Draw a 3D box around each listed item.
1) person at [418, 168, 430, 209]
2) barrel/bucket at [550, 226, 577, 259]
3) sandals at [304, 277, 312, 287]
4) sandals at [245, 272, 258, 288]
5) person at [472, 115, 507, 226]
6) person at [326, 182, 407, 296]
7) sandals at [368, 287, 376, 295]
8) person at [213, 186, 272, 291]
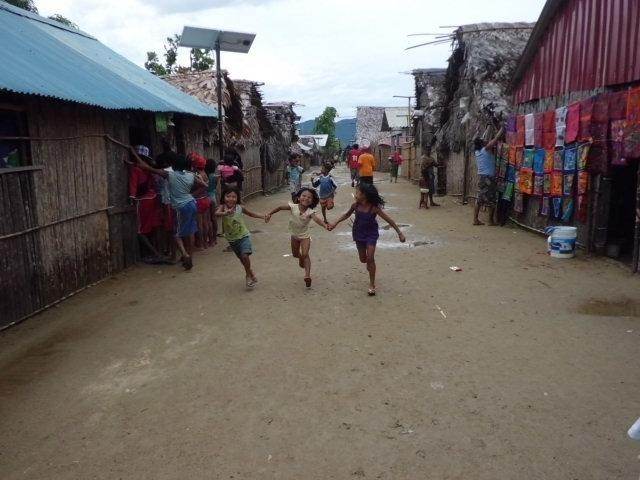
[{"bbox_3d":[3.289,-1.685,15.117,0.291,1.316,0.808,1,13,14],"label":"person"},{"bbox_3d":[4.201,0.034,8.270,0.493,0.511,0.480,-1,6,0],"label":"barrel/bucket"},{"bbox_3d":[-0.168,0.602,6.906,0.067,0.067,0.173,0,-31,0],"label":"sandals"},{"bbox_3d":[-1.014,0.603,7.082,0.156,0.139,0.486,-1,9,-4],"label":"sandals"},{"bbox_3d":[4.093,-1.590,11.726,0.643,2.453,1.447,3,13,21],"label":"person"},{"bbox_3d":[0.704,-0.042,6.787,0.581,1.472,0.826,-6,13,-17],"label":"person"},{"bbox_3d":[0.714,0.689,6.639,0.114,0.108,0.281,0,12,6],"label":"sandals"},{"bbox_3d":[-1.252,-0.128,7.556,0.628,1.470,1.536,-3,13,-7],"label":"person"}]
